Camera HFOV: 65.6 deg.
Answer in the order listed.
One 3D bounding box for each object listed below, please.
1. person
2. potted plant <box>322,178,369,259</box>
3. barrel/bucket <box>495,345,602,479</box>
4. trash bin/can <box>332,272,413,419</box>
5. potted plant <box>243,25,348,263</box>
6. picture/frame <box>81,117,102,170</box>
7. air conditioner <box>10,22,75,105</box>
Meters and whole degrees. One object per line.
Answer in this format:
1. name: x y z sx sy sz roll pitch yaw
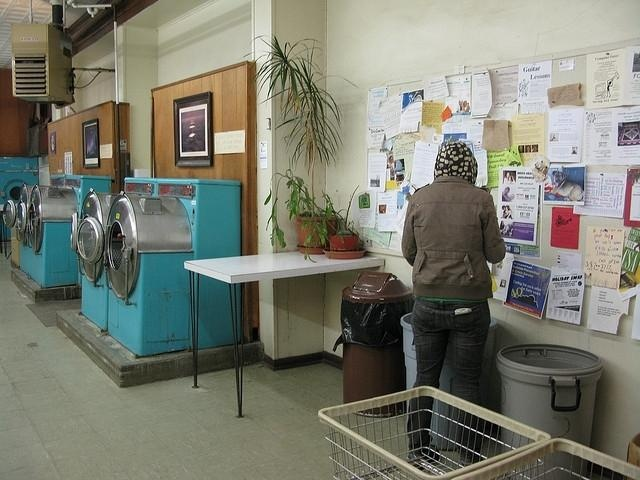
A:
1. person: 0.782 0.373 2.933 0.603 2.026 0.767 2 7 11
2. potted plant: 0.217 -0.162 4.430 0.341 0.541 0.329 2 2 -25
3. barrel/bucket: 1.356 0.949 2.980 0.557 0.517 0.500 6 10 34
4. trash bin/can: 0.445 0.820 4.024 0.591 1.114 0.596 2 -1 -22
5. potted plant: -0.179 -0.991 4.584 0.793 2.071 0.748 -1 7 -9
6. picture/frame: -3.973 -1.837 8.620 0.200 0.837 1.072 -3 9 -29
7. air conditioner: -4.438 -3.029 7.893 0.913 1.175 0.927 4 10 6
